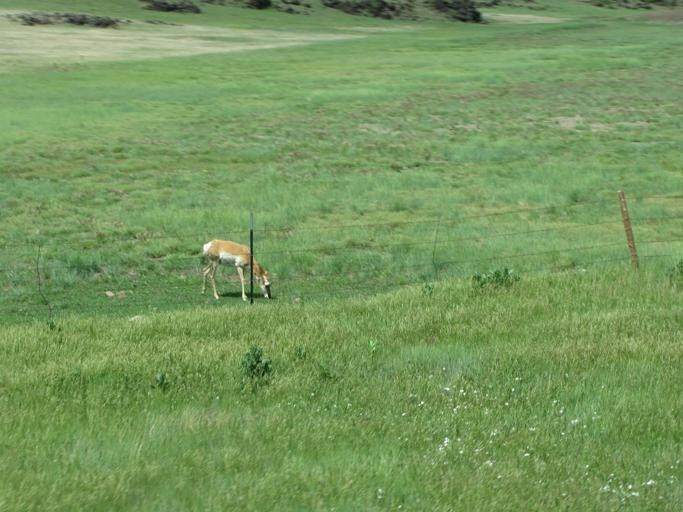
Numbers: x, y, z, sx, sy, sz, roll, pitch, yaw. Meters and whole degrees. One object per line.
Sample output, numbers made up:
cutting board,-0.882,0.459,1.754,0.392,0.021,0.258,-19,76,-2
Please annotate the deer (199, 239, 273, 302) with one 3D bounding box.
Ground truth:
deer,-4.019,0.364,33.661,2.540,2.359,2.222,-8,19,-29
